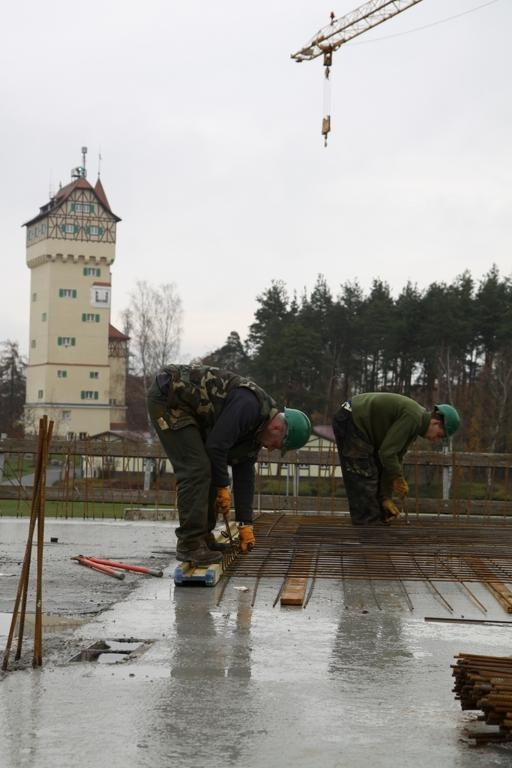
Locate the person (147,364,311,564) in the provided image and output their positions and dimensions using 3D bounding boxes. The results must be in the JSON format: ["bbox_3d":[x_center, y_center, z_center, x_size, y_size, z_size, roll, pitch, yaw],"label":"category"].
[{"bbox_3d":[-0.202,0.369,4.792,0.761,1.255,0.531,1,-2,-1],"label":"person"}]

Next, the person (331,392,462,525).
[{"bbox_3d":[1.069,0.578,6.393,1.025,0.997,0.670,6,-5,5],"label":"person"}]

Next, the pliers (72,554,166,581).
[{"bbox_3d":[-0.893,1.155,5.139,0.194,0.124,1.173,3,-2,-31],"label":"pliers"}]

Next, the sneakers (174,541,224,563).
[{"bbox_3d":[-0.310,0.920,4.449,0.243,0.115,0.107,1,-5,0],"label":"sneakers"}]
